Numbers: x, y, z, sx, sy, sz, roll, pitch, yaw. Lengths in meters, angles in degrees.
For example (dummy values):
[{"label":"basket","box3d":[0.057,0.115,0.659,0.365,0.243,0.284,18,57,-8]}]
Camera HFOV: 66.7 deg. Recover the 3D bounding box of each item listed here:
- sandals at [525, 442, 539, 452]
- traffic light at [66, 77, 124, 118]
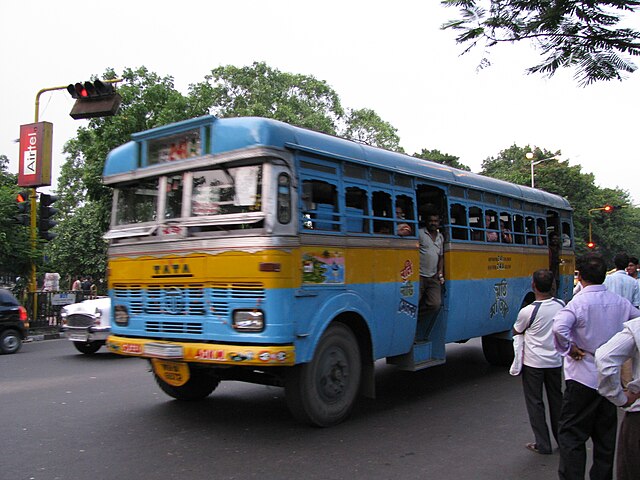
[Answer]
[{"label":"sandals","box3d":[2.450,2.398,5.633,0.055,0.039,0.131,2,-2,-23]},{"label":"traffic light","box3d":[-5.681,-3.586,12.210,1.223,1.064,0.644,0,-4,7]}]
